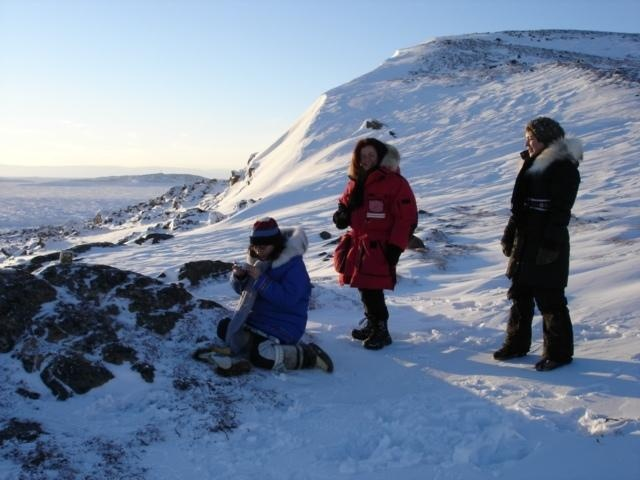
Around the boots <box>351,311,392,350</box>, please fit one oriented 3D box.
[{"bbox_3d":[0.564,0.992,6.077,0.611,0.305,0.244,6,7,43],"label":"boots"}]

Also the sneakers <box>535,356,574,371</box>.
[{"bbox_3d":[2.172,1.149,5.255,0.406,0.102,0.113,-1,0,-3],"label":"sneakers"}]

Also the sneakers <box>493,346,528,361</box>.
[{"bbox_3d":[1.835,1.108,5.533,0.378,0.097,0.120,2,-1,6],"label":"sneakers"}]

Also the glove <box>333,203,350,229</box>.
[{"bbox_3d":[0.238,-0.248,6.114,0.155,0.246,0.223,12,18,-21],"label":"glove"}]

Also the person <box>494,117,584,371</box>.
[{"bbox_3d":[2.057,0.024,5.318,0.496,2.317,0.718,-6,10,-33],"label":"person"}]

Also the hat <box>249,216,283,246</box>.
[{"bbox_3d":[-0.487,-0.070,5.441,0.353,0.185,0.294,-3,7,-2],"label":"hat"}]

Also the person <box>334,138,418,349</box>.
[{"bbox_3d":[0.569,0.040,5.949,0.927,2.173,0.491,2,8,18],"label":"person"}]

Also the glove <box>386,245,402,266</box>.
[{"bbox_3d":[0.754,0.158,5.735,0.125,0.230,0.170,-4,8,-22],"label":"glove"}]

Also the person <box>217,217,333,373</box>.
[{"bbox_3d":[-0.458,0.522,5.485,1.032,1.452,0.553,-2,8,-8],"label":"person"}]
